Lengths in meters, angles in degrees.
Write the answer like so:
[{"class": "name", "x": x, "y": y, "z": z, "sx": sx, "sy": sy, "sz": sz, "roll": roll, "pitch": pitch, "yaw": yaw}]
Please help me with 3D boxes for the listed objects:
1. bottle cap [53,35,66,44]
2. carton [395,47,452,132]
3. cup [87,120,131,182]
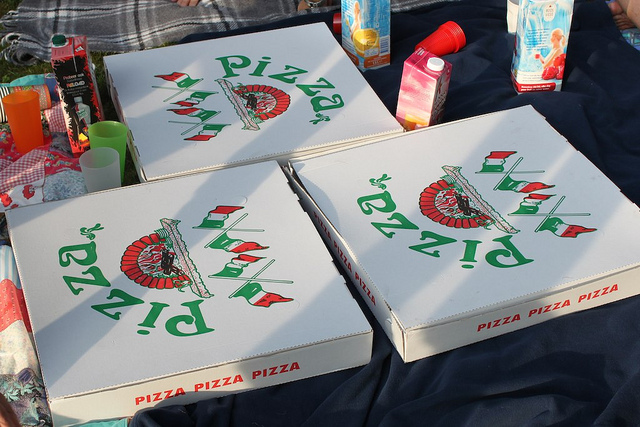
[{"class": "bottle cap", "x": -0.830, "y": -0.557, "z": 1.788, "sx": 0.028, "sy": 0.011, "sz": 0.028, "roll": 30, "pitch": 44, "yaw": 35}, {"class": "carton", "x": 0.341, "y": -0.408, "z": 1.881, "sx": 0.111, "sy": 0.298, "sz": 0.137, "roll": -40, "pitch": 64, "yaw": -22}, {"class": "cup", "x": -0.667, "y": -0.200, "z": 1.766, "sx": 0.123, "sy": 0.185, "sz": 0.122, "roll": 10, "pitch": 52, "yaw": -13}]
